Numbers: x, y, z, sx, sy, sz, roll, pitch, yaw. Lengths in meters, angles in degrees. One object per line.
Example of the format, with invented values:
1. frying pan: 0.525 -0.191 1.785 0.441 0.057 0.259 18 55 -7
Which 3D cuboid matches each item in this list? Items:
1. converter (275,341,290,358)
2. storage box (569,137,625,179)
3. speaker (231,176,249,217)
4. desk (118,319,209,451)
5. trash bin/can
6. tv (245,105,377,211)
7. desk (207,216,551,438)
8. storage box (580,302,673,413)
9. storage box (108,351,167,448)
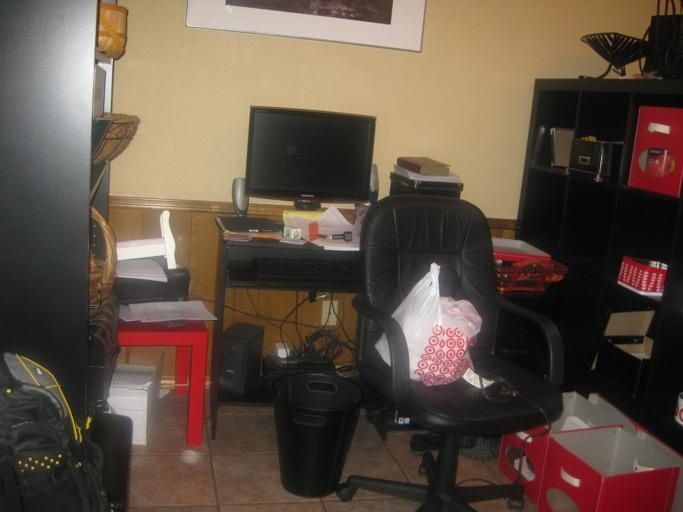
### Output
1. converter: -0.337 0.533 3.295 0.068 0.071 0.125 4 1 -6
2. storage box: 1.259 -0.485 2.938 0.179 0.227 0.291 -1 15 -16
3. speaker: -0.534 -0.312 3.063 0.098 0.188 0.051 1 0 -23
4. desk: -0.811 0.568 3.018 0.558 0.606 0.583 1 7 -13
5. trash bin/can: -0.147 0.770 2.718 0.463 0.517 0.459 -2 11 -22
6. tv: -0.166 -0.514 3.064 0.552 0.448 0.058 4 11 -12
7. desk: 0.126 0.481 3.265 1.730 1.779 0.801 2 -3 -15
8. storage box: 1.378 0.467 2.807 0.369 0.261 0.405 -1 10 21
9. storage box: -1.004 0.648 2.938 0.297 0.318 0.550 5 5 -5
